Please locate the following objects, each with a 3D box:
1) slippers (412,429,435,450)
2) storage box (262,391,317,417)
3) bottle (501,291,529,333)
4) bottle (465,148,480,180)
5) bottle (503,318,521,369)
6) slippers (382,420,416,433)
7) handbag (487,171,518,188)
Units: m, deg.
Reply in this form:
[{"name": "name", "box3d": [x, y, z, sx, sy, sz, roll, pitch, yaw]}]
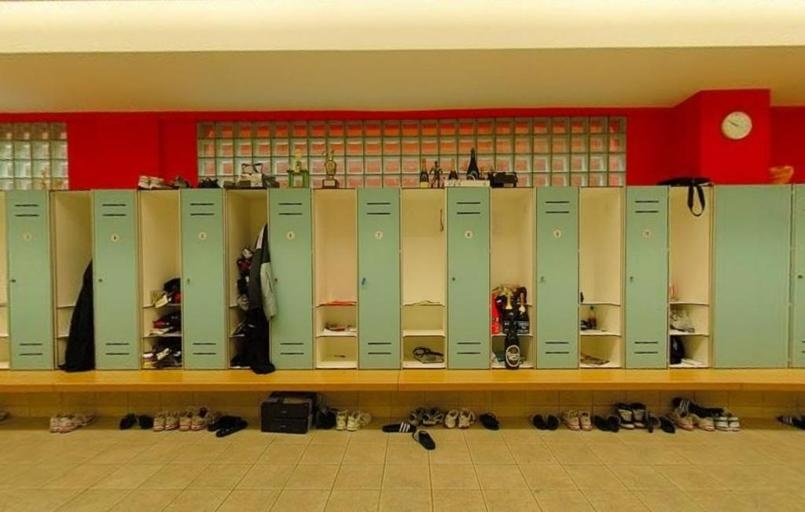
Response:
[{"name": "slippers", "box3d": [0.303, 2.459, 10.020, 0.271, 0.227, 0.376, -2, 0, -10]}, {"name": "storage box", "box3d": [-1.481, 2.029, 10.337, 0.684, 0.302, 0.402, -2, 0, -7]}, {"name": "bottle", "box3d": [1.629, 0.795, 10.734, 0.408, 0.531, 0.167, -1, -14, -1]}, {"name": "bottle", "box3d": [1.011, -1.334, 10.753, 0.197, 0.419, 0.590, -2, 0, 5]}, {"name": "bottle", "box3d": [1.540, 1.221, 10.481, 0.240, 0.613, 0.296, -2, 0, 8]}, {"name": "slippers", "box3d": [-0.040, 2.331, 10.224, 0.389, 0.075, 0.170, 2, -3, 0]}, {"name": "handbag", "box3d": [1.430, -1.079, 10.598, 0.292, 0.170, 0.284, 0, 0, 6]}]
